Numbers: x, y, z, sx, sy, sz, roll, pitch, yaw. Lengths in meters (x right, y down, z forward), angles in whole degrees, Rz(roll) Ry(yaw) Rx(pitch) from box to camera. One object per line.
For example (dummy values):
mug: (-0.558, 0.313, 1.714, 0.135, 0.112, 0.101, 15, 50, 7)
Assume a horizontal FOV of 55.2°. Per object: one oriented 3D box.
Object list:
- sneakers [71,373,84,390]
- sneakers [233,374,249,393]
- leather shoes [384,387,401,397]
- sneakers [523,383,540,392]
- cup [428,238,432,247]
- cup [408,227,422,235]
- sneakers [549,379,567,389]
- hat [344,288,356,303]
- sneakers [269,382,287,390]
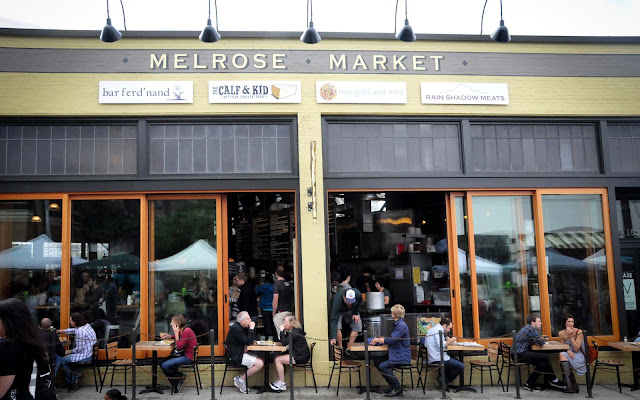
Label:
sneakers: (-6.105, 4.535, 15.371, 0.208, 0.433, 0.161, 7, -19, -8)
sneakers: (-1.928, 4.627, 15.267, 0.265, 0.508, 0.203, -31, 16, 8)
leather shoes: (1.813, 4.735, 15.105, 0.435, 0.153, 0.172, -1, -6, 1)
sneakers: (5.369, 4.748, 15.566, 0.447, 0.166, 0.152, 4, -5, 4)
cup: (3.375, 1.263, 18.751, 0.159, 0.243, 0.333, -4, -3, 16)
cup: (3.084, 0.988, 19.814, 0.434, 0.261, 0.223, 7, -18, -33)
sneakers: (6.021, 4.652, 15.546, 0.450, 0.158, 0.154, 4, -2, 14)
hat: (0.778, 2.450, 15.788, 0.254, 0.331, 0.164, 1, -34, 1)
sneakers: (-1.051, 4.637, 15.322, 0.311, 0.119, 0.229, 4, -4, -9)
